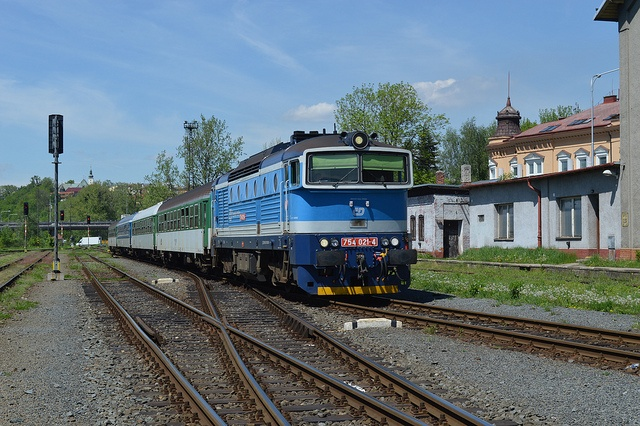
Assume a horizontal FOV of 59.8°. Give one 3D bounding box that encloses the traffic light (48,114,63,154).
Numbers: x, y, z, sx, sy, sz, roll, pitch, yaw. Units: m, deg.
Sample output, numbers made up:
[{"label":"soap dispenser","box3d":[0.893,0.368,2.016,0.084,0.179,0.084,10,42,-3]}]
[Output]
[{"label":"traffic light","box3d":[-12.250,-3.620,25.800,0.525,1.662,0.582,-1,0,-33]}]
